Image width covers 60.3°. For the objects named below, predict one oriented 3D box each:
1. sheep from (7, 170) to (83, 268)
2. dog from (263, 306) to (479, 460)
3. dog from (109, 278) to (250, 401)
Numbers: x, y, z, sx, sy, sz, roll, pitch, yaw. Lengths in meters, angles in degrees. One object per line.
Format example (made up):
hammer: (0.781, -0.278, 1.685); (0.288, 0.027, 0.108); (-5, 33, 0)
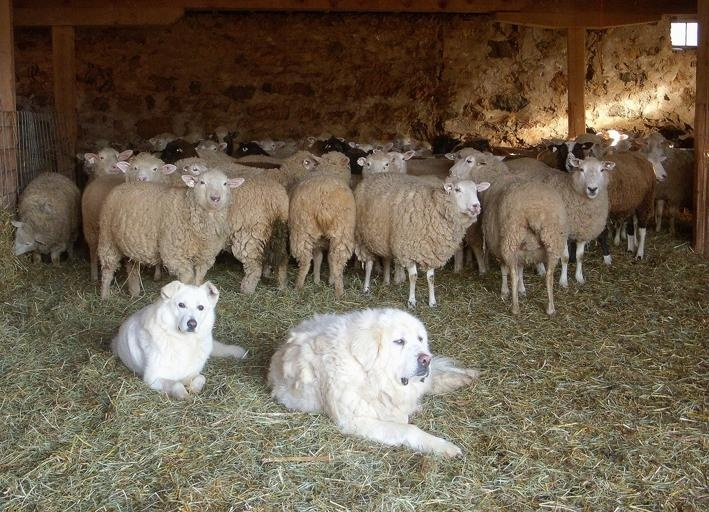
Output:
sheep: (-4.156, -0.459, 8.179); (0.511, 1.129, 1.074); (7, 13, 25)
dog: (0.106, 0.773, 4.667); (1.250, 0.647, 0.965); (14, 8, 20)
dog: (-1.495, 0.565, 5.041); (0.693, 0.618, 1.031); (-9, 23, -41)
